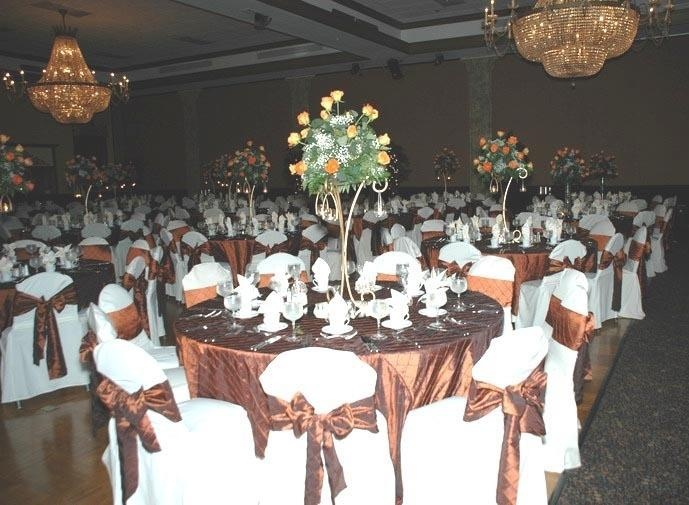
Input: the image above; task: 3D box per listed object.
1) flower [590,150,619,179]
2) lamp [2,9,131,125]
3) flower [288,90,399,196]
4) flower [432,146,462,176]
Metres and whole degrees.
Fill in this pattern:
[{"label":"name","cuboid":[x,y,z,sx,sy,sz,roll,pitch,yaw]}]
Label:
[{"label":"flower","cuboid":[5.213,-1.775,10.968,0.487,0.603,1.379,2,9,28]},{"label":"lamp","cuboid":[-5.412,-3.662,10.417,1.815,1.968,1.996,2,17,4]},{"label":"flower","cuboid":[0.023,-0.745,3.950,0.748,0.885,0.819,1,10,5]},{"label":"flower","cuboid":[2.368,-2.089,12.876,0.565,0.565,0.633,-11,32,-5]}]
